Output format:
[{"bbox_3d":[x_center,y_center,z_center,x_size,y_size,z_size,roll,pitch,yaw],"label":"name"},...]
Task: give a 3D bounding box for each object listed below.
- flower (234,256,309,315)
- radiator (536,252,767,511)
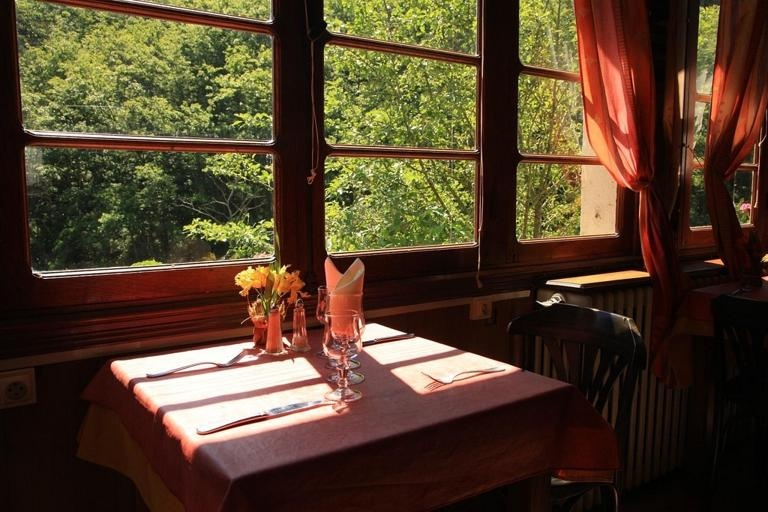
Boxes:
[{"bbox_3d":[-0.489,0.120,2.565,0.261,0.282,0.255,1,1,13],"label":"flower"},{"bbox_3d":[1.421,0.668,3.075,1.268,1.162,0.214,-9,14,-31],"label":"radiator"}]
